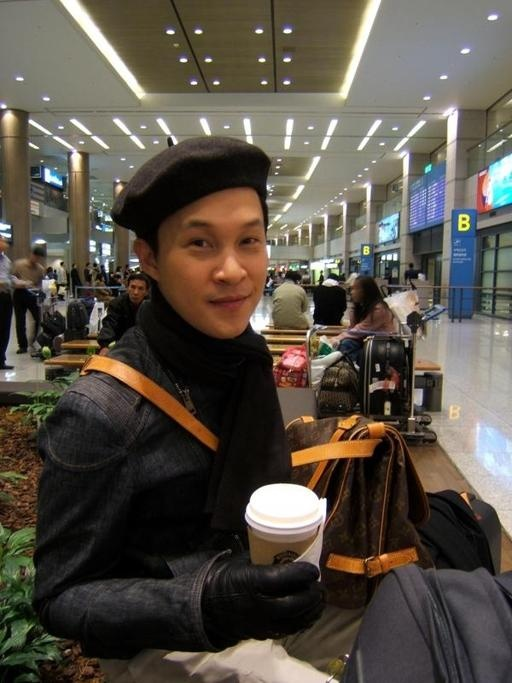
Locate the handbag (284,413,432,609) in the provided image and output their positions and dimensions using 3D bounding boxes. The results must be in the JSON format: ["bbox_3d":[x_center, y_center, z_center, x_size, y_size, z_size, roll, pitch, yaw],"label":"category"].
[{"bbox_3d":[0.249,0.468,1.426,0.370,0.467,0.643,4,-7,-14],"label":"handbag"}]

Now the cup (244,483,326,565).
[{"bbox_3d":[0.036,0.231,0.598,0.096,0.097,0.103,-1,1,0],"label":"cup"}]

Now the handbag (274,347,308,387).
[{"bbox_3d":[0.337,0.226,4.085,0.234,0.127,0.397,2,26,3],"label":"handbag"}]

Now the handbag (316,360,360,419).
[{"bbox_3d":[0.716,0.424,3.772,0.529,0.548,0.395,2,-3,-2],"label":"handbag"}]

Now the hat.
[{"bbox_3d":[-0.104,-0.250,0.703,0.262,0.166,0.174,0,5,-11],"label":"hat"}]

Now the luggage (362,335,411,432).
[{"bbox_3d":[0.975,0.297,3.784,0.541,0.948,0.740,1,2,9],"label":"luggage"}]
